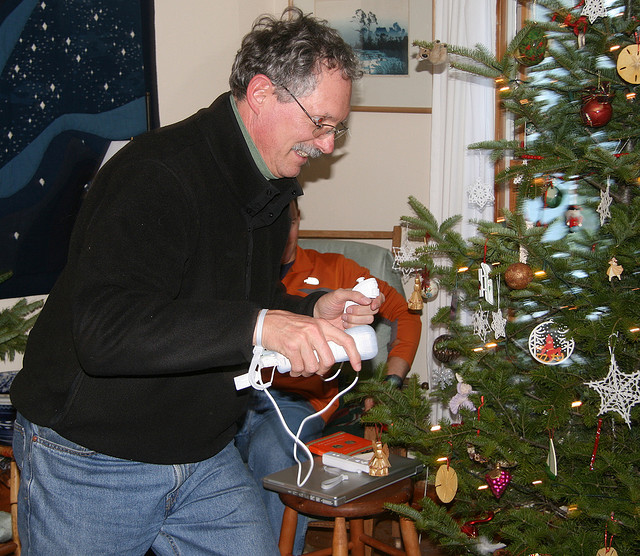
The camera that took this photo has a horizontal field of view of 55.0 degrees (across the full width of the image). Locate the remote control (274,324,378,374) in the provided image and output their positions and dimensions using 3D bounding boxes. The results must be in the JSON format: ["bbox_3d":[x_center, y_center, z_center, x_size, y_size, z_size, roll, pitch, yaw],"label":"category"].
[{"bbox_3d":[0.035,0.122,1.209,0.255,0.083,0.070,-10,-1,-19],"label":"remote control"}]

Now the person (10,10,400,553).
[{"bbox_3d":[-0.203,-0.006,2.175,1.181,2.136,1.026,0,5,10],"label":"person"}]
